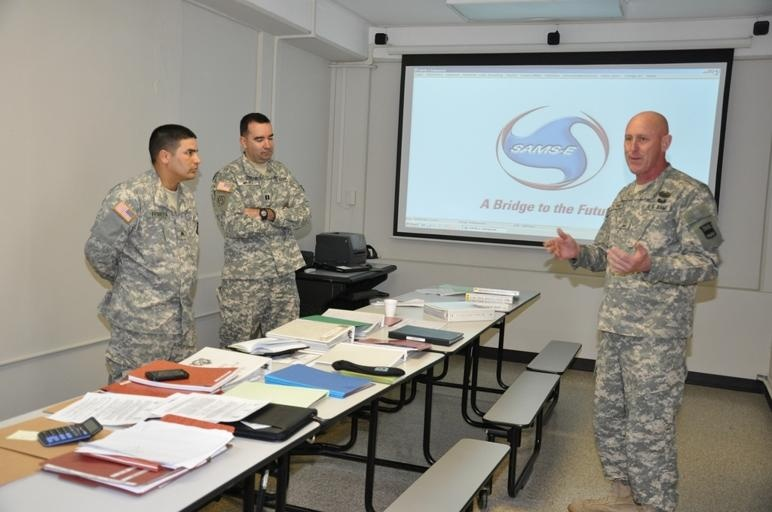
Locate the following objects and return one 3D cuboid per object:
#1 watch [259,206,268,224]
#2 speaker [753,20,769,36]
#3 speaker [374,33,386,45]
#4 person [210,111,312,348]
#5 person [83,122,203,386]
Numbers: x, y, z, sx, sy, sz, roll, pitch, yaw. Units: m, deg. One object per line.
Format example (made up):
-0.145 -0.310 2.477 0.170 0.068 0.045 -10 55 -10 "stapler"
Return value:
-0.901 -0.300 4.095 0.074 0.092 0.042 1 15 -4 "watch"
3.610 -2.193 5.340 0.146 0.123 0.078 0 12 7 "speaker"
-0.055 -2.488 6.375 0.147 0.129 0.056 3 15 2 "speaker"
-0.980 -0.003 4.405 0.718 2.106 0.580 -10 19 -36 "person"
-1.421 -0.009 3.591 0.604 1.718 0.652 5 5 2 "person"
